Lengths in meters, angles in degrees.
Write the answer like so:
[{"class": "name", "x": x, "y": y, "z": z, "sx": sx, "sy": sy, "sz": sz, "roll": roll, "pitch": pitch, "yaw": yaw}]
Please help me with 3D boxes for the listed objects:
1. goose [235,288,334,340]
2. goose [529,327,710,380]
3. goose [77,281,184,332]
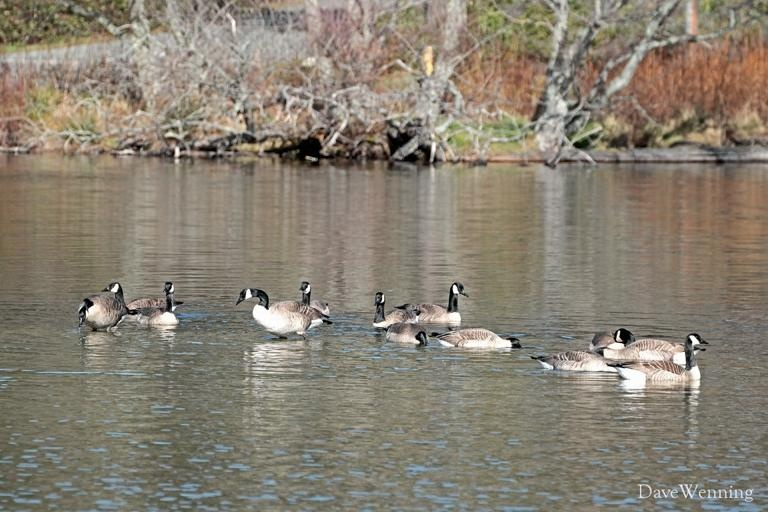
[{"class": "goose", "x": -1.667, "y": 0.955, "z": 17.042, "sx": 1.826, "sy": 0.894, "sz": 0.707, "roll": -3, "pitch": 5, "yaw": -39}, {"class": "goose", "x": 3.567, "y": 1.456, "z": 15.483, "sx": 2.126, "sy": 0.517, "sz": 0.955, "roll": 1, "pitch": 0, "yaw": 9}, {"class": "goose", "x": -4.373, "y": 0.848, "z": 17.739, "sx": 1.427, "sy": 0.788, "sz": 1.795, "roll": 1, "pitch": 0, "yaw": 15}]
